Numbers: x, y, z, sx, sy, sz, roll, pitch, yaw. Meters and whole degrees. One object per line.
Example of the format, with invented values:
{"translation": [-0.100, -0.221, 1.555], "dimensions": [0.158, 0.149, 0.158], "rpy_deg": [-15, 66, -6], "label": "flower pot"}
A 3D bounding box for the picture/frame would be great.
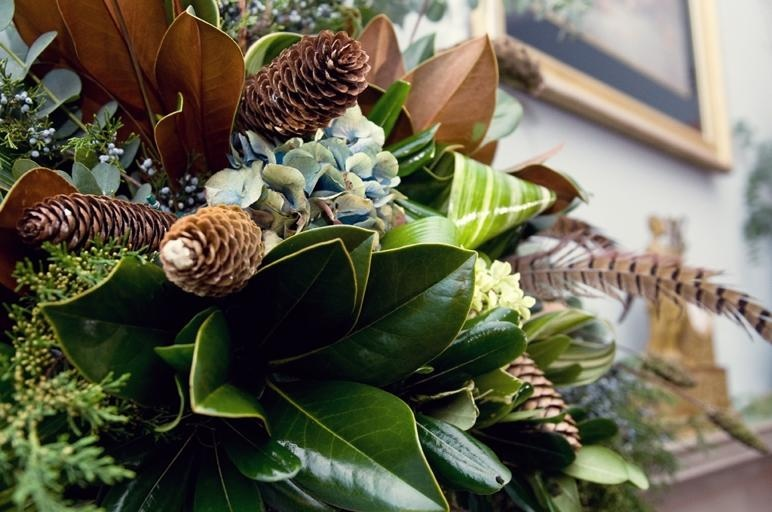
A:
{"translation": [0.366, -0.279, 1.365], "dimensions": [0.297, 0.020, 0.310], "rpy_deg": [24, 42, -19], "label": "picture/frame"}
